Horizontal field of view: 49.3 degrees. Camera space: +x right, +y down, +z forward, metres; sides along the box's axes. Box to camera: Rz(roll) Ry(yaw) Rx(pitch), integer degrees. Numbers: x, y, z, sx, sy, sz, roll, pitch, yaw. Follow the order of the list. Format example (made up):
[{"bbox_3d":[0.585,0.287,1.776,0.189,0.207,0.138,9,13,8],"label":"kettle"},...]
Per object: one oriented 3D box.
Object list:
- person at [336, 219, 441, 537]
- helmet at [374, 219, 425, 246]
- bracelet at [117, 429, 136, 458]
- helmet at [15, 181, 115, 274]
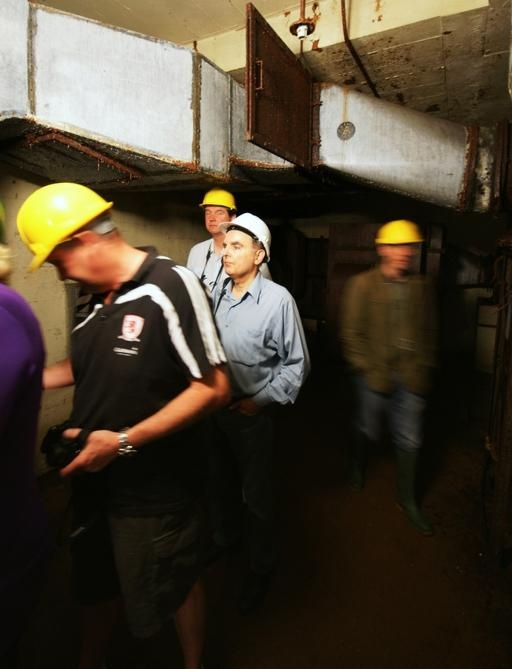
[{"bbox_3d":[0.830,0.235,3.451,0.567,1.762,0.855,-2,18,-8],"label":"person"},{"bbox_3d":[0.898,-0.629,3.566,0.180,0.112,0.243,-10,8,-16],"label":"helmet"},{"bbox_3d":[-0.472,0.398,1.997,0.054,0.084,0.085,3,-8,19],"label":"bracelet"},{"bbox_3d":[-0.661,-0.392,2.009,0.317,0.177,0.253,-43,38,-3],"label":"helmet"}]
